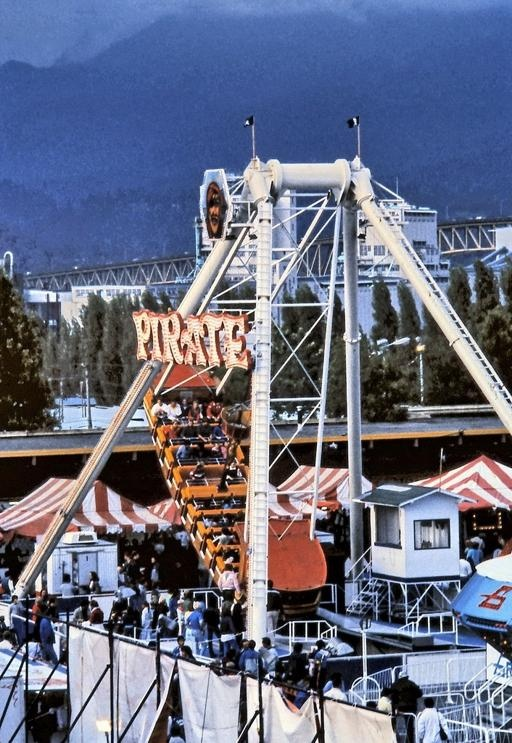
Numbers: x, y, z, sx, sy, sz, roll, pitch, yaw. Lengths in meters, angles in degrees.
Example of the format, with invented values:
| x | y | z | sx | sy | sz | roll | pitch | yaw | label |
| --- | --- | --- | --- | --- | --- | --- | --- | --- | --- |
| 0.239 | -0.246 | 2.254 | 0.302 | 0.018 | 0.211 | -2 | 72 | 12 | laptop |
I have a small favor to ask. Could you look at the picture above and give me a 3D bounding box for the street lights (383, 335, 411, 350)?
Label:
| x | y | z | sx | sy | sz | roll | pitch | yaw | label |
| --- | --- | --- | --- | --- | --- | --- | --- | --- | --- |
| 6.793 | -1.135 | 101.414 | 1.755 | 0.689 | 0.466 | -7 | -4 | -42 | street lights |
